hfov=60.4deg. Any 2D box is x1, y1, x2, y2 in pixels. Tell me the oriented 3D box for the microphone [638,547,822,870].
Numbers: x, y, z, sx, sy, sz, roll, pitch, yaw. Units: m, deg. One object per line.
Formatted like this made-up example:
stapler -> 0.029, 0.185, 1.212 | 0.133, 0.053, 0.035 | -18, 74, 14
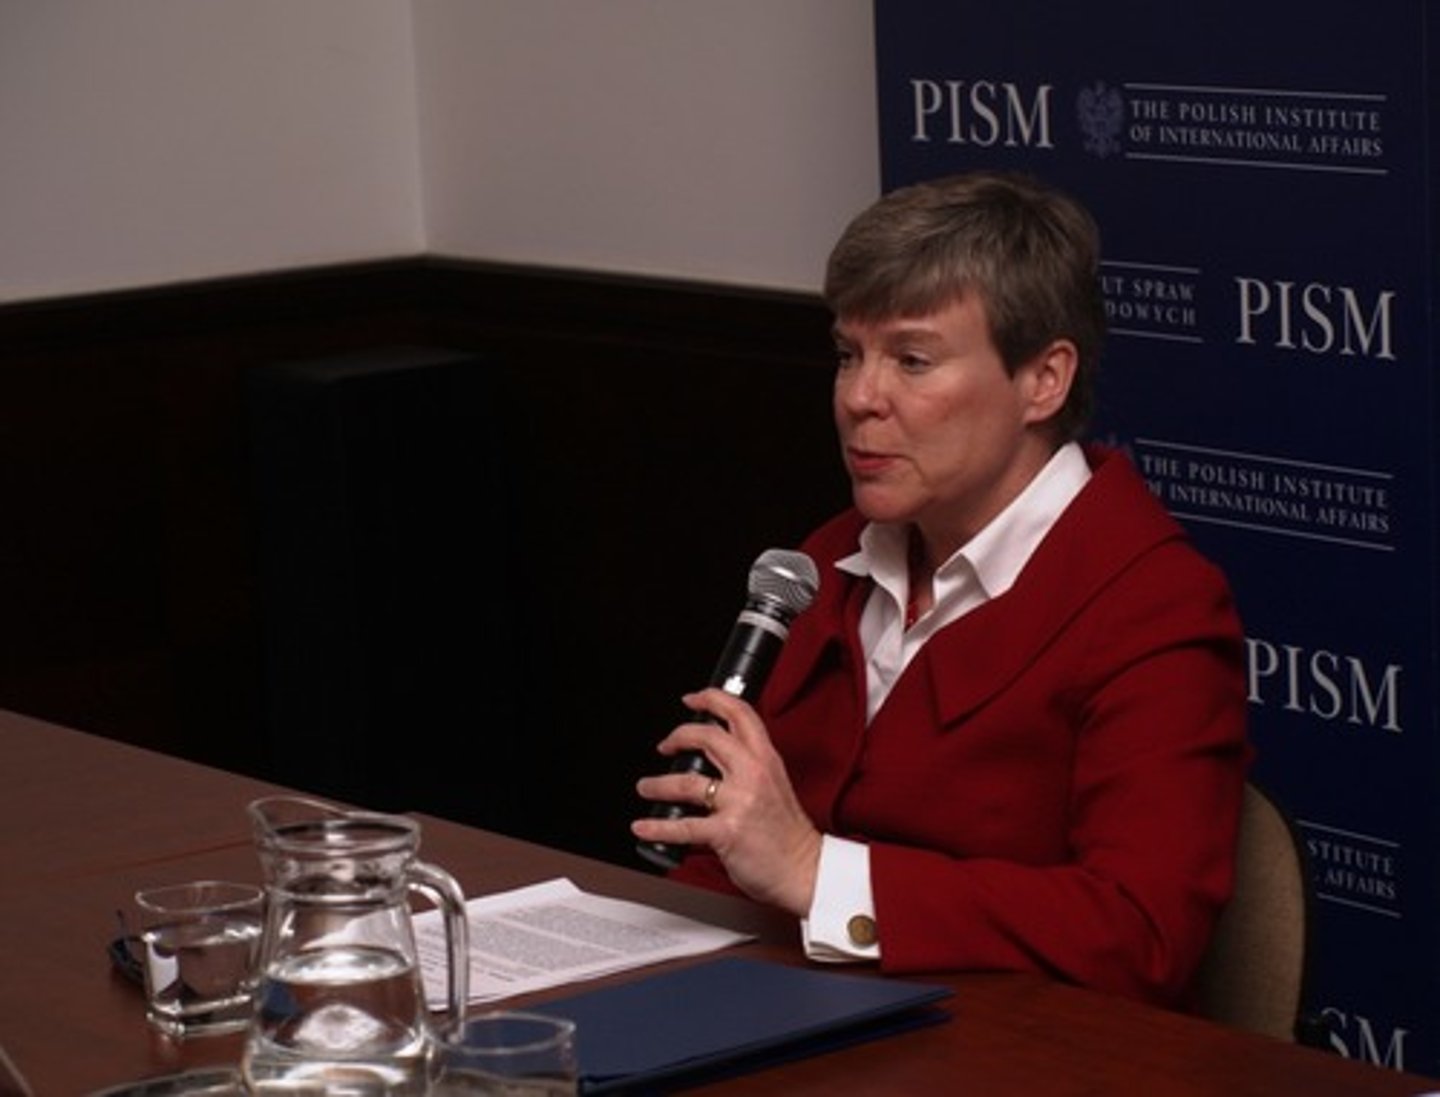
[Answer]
microphone -> 0.024, 0.138, 1.312 | 0.114, 0.117, 0.354 | 8, 49, 25
